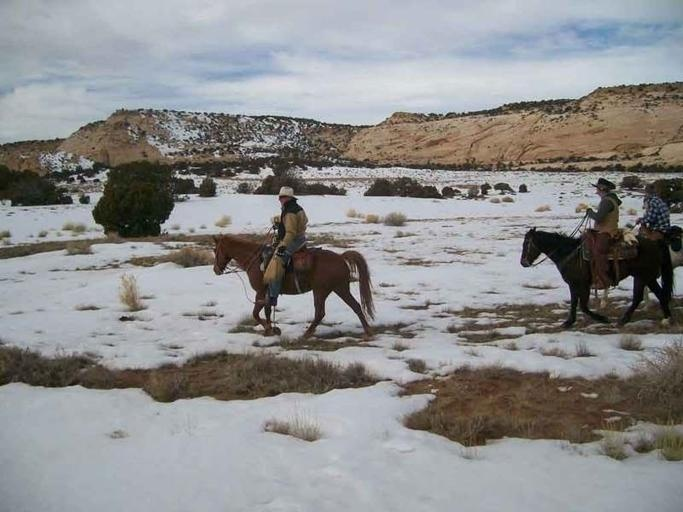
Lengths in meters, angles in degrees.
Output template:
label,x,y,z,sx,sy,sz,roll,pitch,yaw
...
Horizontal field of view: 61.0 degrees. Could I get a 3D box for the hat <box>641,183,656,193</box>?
label,x,y,z,sx,sy,sz,roll,pitch,yaw
hat,6.642,-1.493,12.532,0.177,0.117,0.241,11,-6,3

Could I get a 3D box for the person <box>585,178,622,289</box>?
label,x,y,z,sx,sy,sz,roll,pitch,yaw
person,5.294,-0.375,11.823,0.618,2.424,0.943,5,15,24

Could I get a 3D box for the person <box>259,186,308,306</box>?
label,x,y,z,sx,sy,sz,roll,pitch,yaw
person,-1.200,-0.138,11.867,0.656,2.522,1.095,9,17,34
